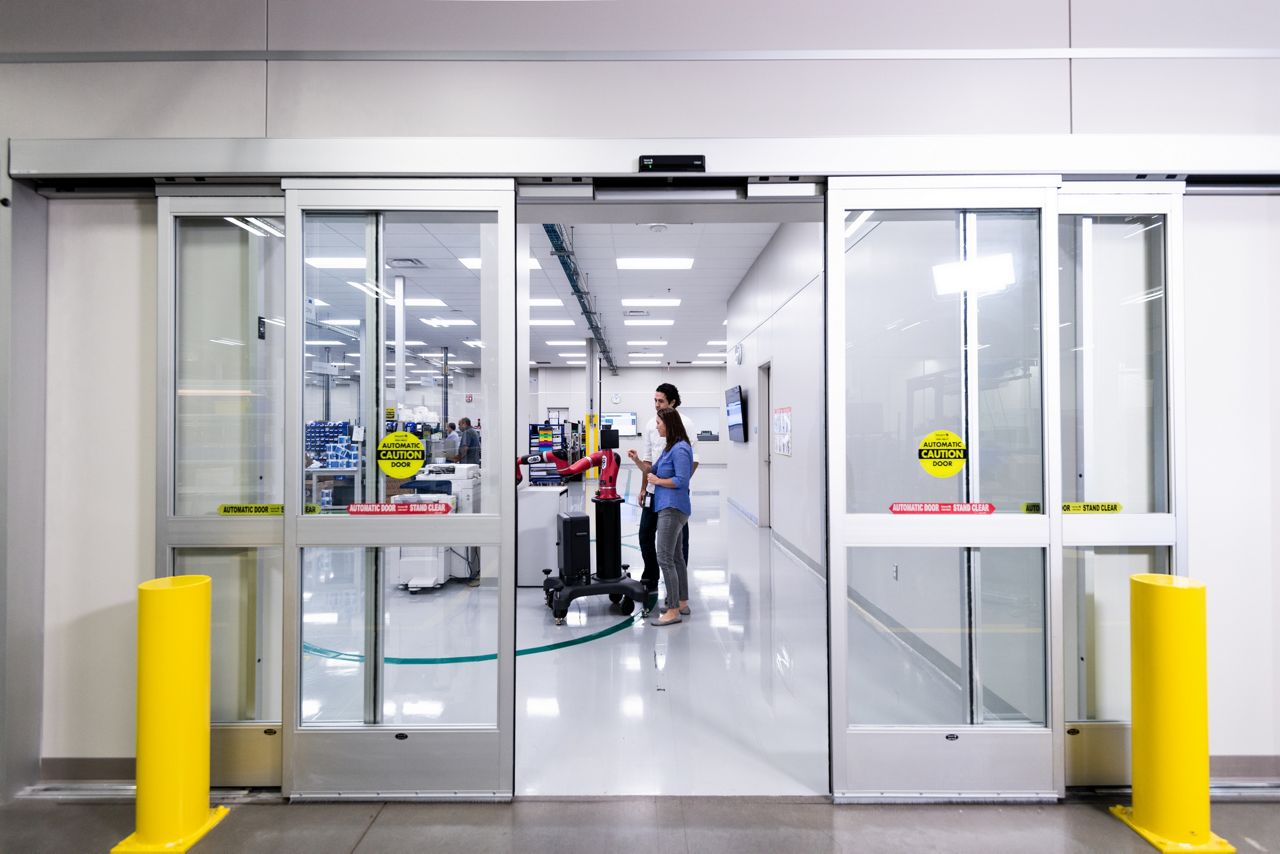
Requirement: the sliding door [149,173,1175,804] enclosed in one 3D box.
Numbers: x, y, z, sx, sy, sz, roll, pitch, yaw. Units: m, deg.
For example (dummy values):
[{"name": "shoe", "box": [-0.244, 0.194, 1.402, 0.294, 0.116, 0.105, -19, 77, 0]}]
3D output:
[{"name": "sliding door", "box": [0.365, 0.133, 7.733, 5.317, 3.449, 3.762, -1, 7, 1]}]
